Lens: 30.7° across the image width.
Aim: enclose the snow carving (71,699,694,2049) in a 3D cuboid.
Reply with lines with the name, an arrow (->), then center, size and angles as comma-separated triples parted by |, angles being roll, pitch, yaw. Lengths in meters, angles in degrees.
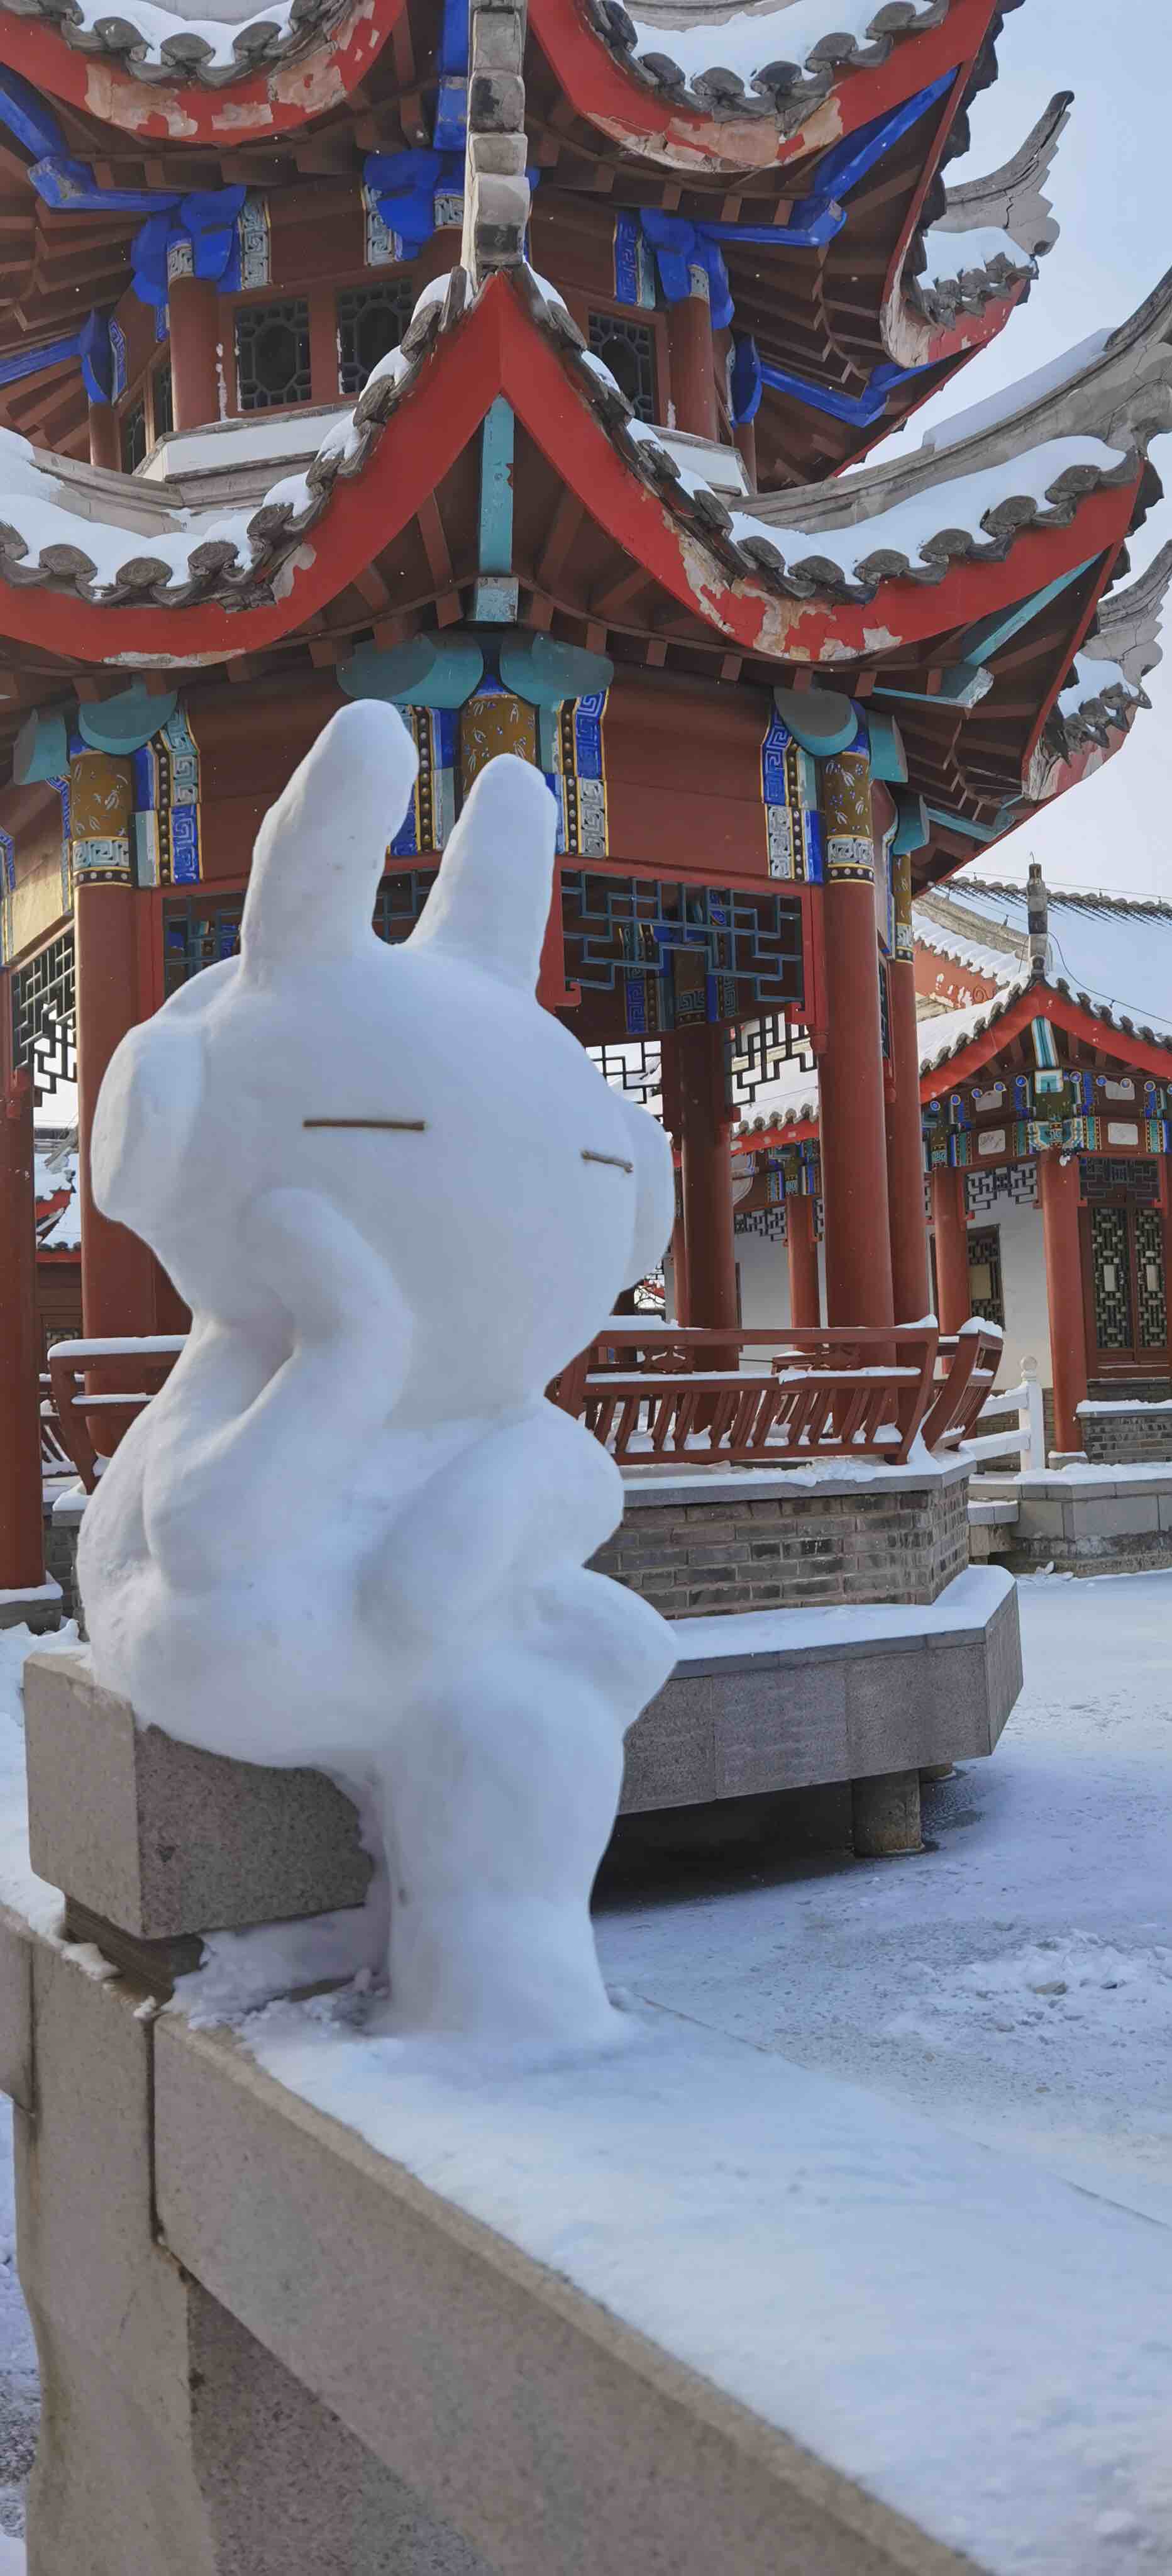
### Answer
snow carving -> -0.325, 0.097, 2.869 | 0.822, 1.740, 0.658 | -5, 5, 1
